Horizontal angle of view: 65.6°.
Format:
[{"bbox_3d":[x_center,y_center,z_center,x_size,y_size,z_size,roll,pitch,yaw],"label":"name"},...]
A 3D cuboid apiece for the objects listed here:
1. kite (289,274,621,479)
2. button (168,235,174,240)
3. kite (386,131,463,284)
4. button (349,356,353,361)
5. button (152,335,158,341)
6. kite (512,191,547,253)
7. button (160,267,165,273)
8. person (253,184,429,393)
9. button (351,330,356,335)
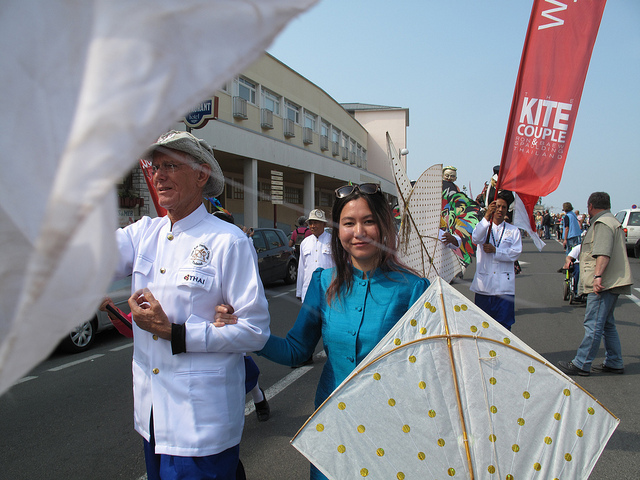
[{"bbox_3d":[0.470,0.525,1.745,1.082,0.603,0.259,6,3,-3],"label":"kite"},{"bbox_3d":[-0.637,-0.015,2.105,0.017,0.022,0.004,2,-5,-3],"label":"button"},{"bbox_3d":[0.576,-0.088,2.706,0.037,1.147,0.968,-3,4,29],"label":"kite"},{"bbox_3d":[0.126,0.491,2.027,0.015,0.019,0.004,-5,-10,40],"label":"button"},{"bbox_3d":[-0.663,0.395,1.988,0.015,0.020,0.004,2,1,15],"label":"button"},{"bbox_3d":[1.975,-0.215,4.714,0.323,0.733,0.092,5,-25,28],"label":"kite"},{"bbox_3d":[-0.651,0.123,2.046,0.016,0.019,0.021,15,-33,-5],"label":"button"},{"bbox_3d":[0.104,0.242,2.109,0.709,1.078,0.554,1,-24,12],"label":"person"},{"bbox_3d":[0.137,0.385,2.039,0.015,0.020,0.004,-1,-4,26],"label":"button"}]
